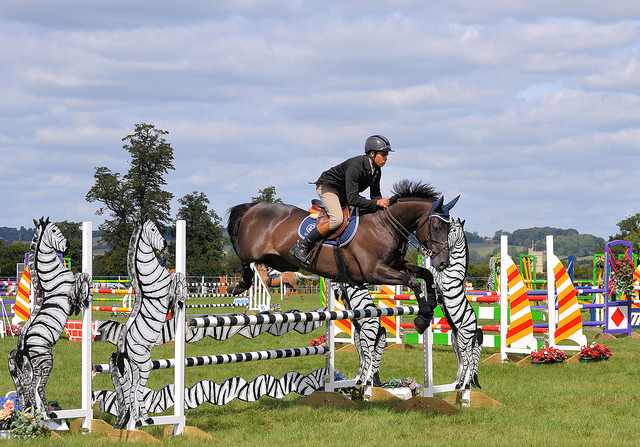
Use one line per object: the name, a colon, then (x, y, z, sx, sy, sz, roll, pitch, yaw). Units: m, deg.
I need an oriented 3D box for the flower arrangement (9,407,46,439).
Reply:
flower arrangement: (-3.963, 2.696, 16.285, 0.462, 0.395, 0.148, 0, -5, -16)

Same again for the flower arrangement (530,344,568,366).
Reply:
flower arrangement: (3.830, 2.247, 20.612, 0.657, 0.336, 0.378, 0, -5, -21)

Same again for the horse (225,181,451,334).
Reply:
horse: (0.198, 0.341, 18.016, 3.526, 2.127, 0.947, 8, 5, 20)

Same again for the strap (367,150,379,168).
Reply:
strap: (0.730, -0.967, 17.534, 0.117, 0.156, 0.092, 4, -7, -16)

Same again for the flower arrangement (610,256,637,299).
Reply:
flower arrangement: (5.923, 1.041, 23.776, 0.381, 0.815, 0.751, -3, -5, 13)

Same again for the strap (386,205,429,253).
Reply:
strap: (1.143, -0.013, 17.414, 0.015, 0.566, 0.096, -41, -3, 26)

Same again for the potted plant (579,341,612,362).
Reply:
potted plant: (4.710, 2.232, 20.828, 0.576, 0.297, 0.447, 3, -7, -45)

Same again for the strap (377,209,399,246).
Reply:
strap: (0.958, 0.079, 17.423, 0.042, 0.576, 0.131, -39, -3, 11)

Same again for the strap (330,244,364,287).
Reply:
strap: (0.373, 0.610, 17.572, 0.366, 0.544, 0.332, -6, 4, -34)
